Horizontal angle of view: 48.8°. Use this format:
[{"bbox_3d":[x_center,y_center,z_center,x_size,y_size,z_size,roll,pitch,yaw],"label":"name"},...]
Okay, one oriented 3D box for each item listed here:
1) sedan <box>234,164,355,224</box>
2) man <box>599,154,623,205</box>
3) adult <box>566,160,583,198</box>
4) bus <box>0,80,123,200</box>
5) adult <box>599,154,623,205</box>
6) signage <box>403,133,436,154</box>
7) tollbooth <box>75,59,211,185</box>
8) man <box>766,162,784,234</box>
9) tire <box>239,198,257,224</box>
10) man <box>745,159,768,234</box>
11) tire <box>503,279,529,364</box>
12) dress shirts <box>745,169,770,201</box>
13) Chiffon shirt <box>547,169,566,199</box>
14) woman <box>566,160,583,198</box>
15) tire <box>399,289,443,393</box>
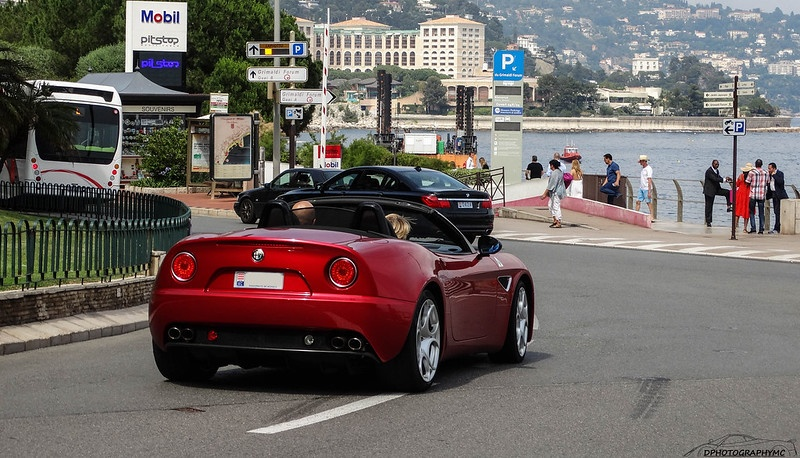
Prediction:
[{"bbox_3d":[-3.744,-1.068,28.633,3.619,1.304,1.708,1,2,25],"label":"sedan"},{"bbox_3d":[8.373,-1.895,34.708,0.746,1.967,3.957,4,5,13],"label":"man"},{"bbox_3d":[7.237,-2.064,36.249,0.540,1.545,1.510,4,5,9],"label":"adult"},{"bbox_3d":[-10.446,-2.913,28.266,2.946,3.406,8.136,0,8,-30],"label":"bus"},{"bbox_3d":[8.333,-1.892,34.644,0.781,1.967,3.814,4,5,14],"label":"adult"},{"bbox_3d":[2.582,-10.270,106.388,3.862,2.497,3.179,3,5,-1],"label":"signage"},{"bbox_3d":[-13.697,-6.680,49.744,7.022,4.873,6.940,-3,7,-28],"label":"tollbooth"},{"bbox_3d":[12.979,-1.109,30.263,0.748,2.308,0.779,0,-1,-8],"label":"man"},{"bbox_3d":[-4.958,-0.606,28.831,0.245,0.730,0.719,5,4,-37],"label":"tire"},{"bbox_3d":[12.315,-1.138,30.193,0.731,2.454,0.660,1,8,14],"label":"man"},{"bbox_3d":[1.570,1.252,11.981,0.332,1.047,1.048,-1,8,19],"label":"tire"},{"bbox_3d":[12.267,-1.511,30.038,0.641,1.038,0.567,5,5,22],"label":"dress shirts"},{"bbox_3d":[5.359,-1.534,30.038,0.565,0.953,0.749,4,5,12],"label":"Chiffon shirt"},{"bbox_3d":[7.232,-2.062,36.220,0.540,1.545,1.449,4,5,9],"label":"woman"},{"bbox_3d":[0.183,1.328,10.709,0.404,1.259,1.254,-2,-10,17],"label":"tire"}]
